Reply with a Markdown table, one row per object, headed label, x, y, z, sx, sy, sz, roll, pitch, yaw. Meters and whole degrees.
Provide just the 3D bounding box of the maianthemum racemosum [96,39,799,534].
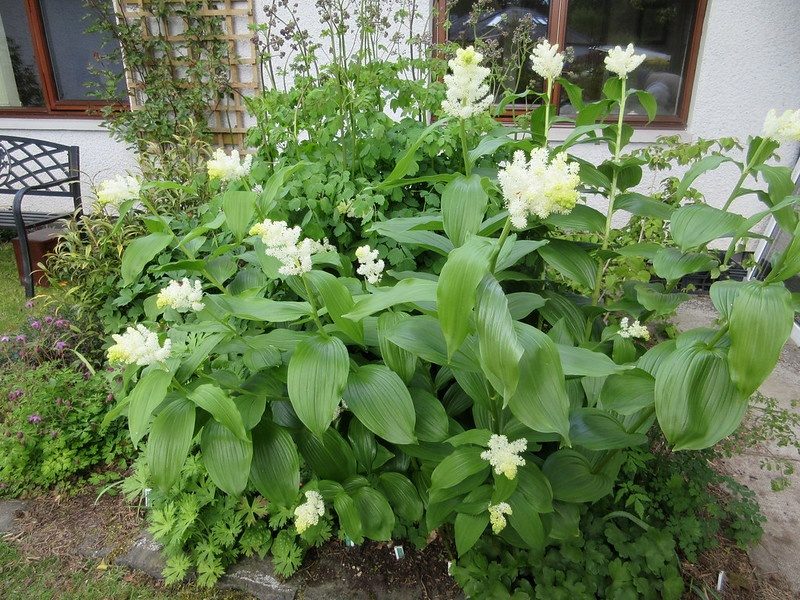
| label | x | y | z | sx | sy | sz | roll | pitch | yaw |
| --- | --- | --- | --- | --- | --- | --- | --- | --- | --- |
| maianthemum racemosum | 0.299 | 0.268 | 2.692 | 2.845 | 1.877 | 2.447 | -7 | 47 | 3 |
